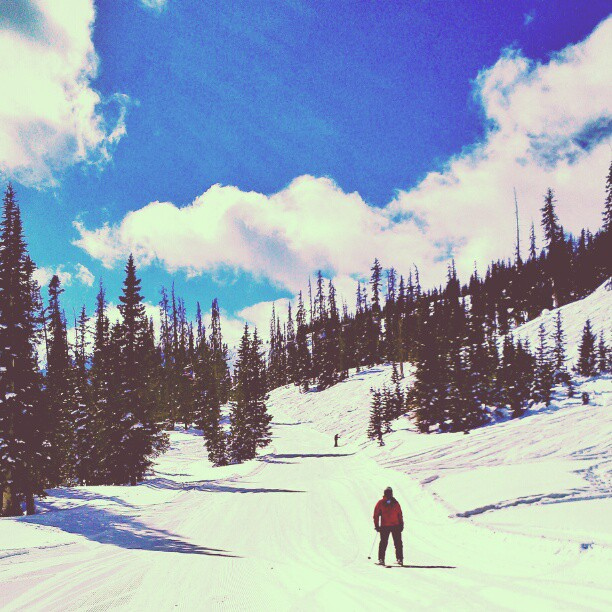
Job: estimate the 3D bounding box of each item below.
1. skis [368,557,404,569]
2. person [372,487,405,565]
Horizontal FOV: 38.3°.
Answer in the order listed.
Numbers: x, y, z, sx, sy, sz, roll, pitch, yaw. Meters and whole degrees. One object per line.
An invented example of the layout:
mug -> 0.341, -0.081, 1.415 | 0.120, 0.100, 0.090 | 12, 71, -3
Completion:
skis -> 3.219, 10.354, 35.387 | 1.418, 0.123, 0.272 | 6, 22, 19
person -> 3.361, 8.823, 35.894 | 1.176, 3.576, 0.853 | -1, 24, 2
